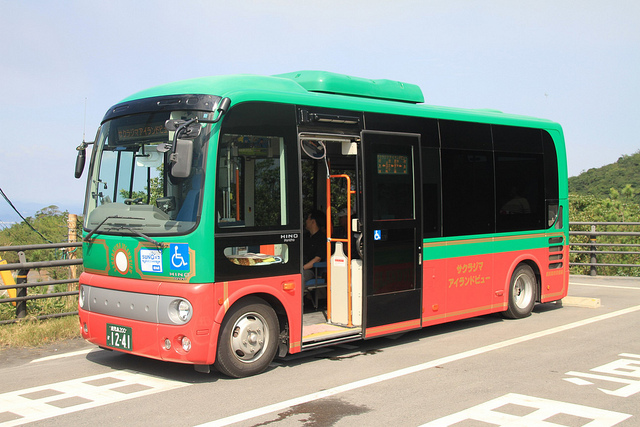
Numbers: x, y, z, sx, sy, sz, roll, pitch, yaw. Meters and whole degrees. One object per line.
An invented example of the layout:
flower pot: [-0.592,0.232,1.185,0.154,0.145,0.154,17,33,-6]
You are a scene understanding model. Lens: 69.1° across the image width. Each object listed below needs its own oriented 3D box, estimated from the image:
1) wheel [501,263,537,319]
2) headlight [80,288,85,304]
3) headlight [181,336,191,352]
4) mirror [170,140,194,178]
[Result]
wheel: [4.775,1.844,11.240,1.314,1.367,0.486,8,-5,-30]
headlight: [-3.874,1.346,7.594,0.043,0.171,0.179,2,2,-10]
headlight: [-1.883,1.853,6.564,0.159,0.217,0.035,0,-1,36]
mirror: [-1.879,-0.752,6.348,0.286,0.498,0.220,0,-1,-10]
